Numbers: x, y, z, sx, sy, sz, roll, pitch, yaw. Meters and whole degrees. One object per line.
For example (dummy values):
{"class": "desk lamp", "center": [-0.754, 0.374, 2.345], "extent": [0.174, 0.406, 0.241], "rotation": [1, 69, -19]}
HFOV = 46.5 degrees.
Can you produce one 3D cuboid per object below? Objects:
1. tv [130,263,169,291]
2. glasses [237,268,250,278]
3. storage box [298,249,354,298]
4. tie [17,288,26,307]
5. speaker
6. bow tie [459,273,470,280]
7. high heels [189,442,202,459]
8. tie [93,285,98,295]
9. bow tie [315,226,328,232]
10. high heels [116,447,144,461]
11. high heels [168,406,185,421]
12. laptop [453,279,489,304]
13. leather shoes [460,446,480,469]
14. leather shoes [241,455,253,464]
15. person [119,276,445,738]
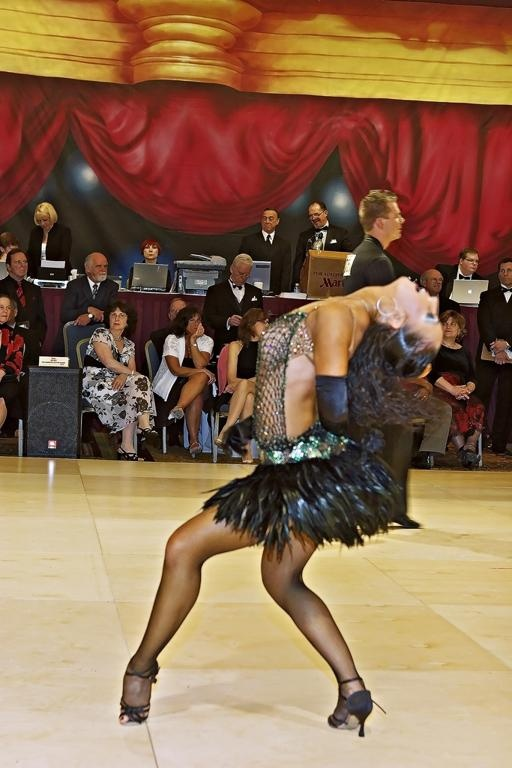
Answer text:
{"class": "tv", "center": [-1.431, -1.409, 7.954], "extent": [0.556, 0.353, 0.369], "rotation": [1, -1, -4]}
{"class": "glasses", "center": [-0.140, -1.391, 7.476], "extent": [0.104, 0.056, 0.125], "rotation": [-6, 26, -10]}
{"class": "storage box", "center": [0.905, -1.445, 7.762], "extent": [0.690, 0.581, 0.501], "rotation": [-1, 15, -23]}
{"class": "tie", "center": [-2.813, -1.040, 7.143], "extent": [0.111, 0.242, 0.063], "rotation": [7, -7, -25]}
{"class": "speaker", "center": [-2.182, 0.317, 6.415], "extent": [0.567, 0.967, 0.198], "rotation": [5, -6, -6]}
{"class": "bow tie", "center": [2.892, -1.479, 8.296], "extent": [0.094, 0.042, 0.121], "rotation": [4, -18, 7]}
{"class": "high heels", "center": [-0.708, 0.767, 6.935], "extent": [0.104, 0.207, 0.079], "rotation": [-1, 6, -4]}
{"class": "tie", "center": [-2.025, -1.182, 7.494], "extent": [0.035, 0.138, 0.038], "rotation": [5, -30, -1]}
{"class": "bow tie", "center": [0.968, -2.270, 8.661], "extent": [0.189, 0.107, 0.082], "rotation": [4, -6, -5]}
{"class": "high heels", "center": [-1.439, 0.794, 6.677], "extent": [0.349, 0.117, 0.135], "rotation": [-2, -5, 26]}
{"class": "high heels", "center": [-0.898, 0.364, 6.806], "extent": [0.139, 0.178, 0.081], "rotation": [19, 2, 37]}
{"class": "laptop", "center": [2.881, -1.251, 8.035], "extent": [0.513, 0.323, 0.355], "rotation": [1, 8, -2]}
{"class": "leather shoes", "center": [2.499, 0.879, 6.951], "extent": [0.174, 0.145, 0.289], "rotation": [28, -12, 5]}
{"class": "leather shoes", "center": [-0.098, 0.828, 6.511], "extent": [0.087, 0.082, 0.235], "rotation": [1, -8, -4]}
{"class": "person", "center": [0.050, 0.233, 1.178], "extent": [0.516, 0.893, 0.386], "rotation": [10, -11, -9]}
